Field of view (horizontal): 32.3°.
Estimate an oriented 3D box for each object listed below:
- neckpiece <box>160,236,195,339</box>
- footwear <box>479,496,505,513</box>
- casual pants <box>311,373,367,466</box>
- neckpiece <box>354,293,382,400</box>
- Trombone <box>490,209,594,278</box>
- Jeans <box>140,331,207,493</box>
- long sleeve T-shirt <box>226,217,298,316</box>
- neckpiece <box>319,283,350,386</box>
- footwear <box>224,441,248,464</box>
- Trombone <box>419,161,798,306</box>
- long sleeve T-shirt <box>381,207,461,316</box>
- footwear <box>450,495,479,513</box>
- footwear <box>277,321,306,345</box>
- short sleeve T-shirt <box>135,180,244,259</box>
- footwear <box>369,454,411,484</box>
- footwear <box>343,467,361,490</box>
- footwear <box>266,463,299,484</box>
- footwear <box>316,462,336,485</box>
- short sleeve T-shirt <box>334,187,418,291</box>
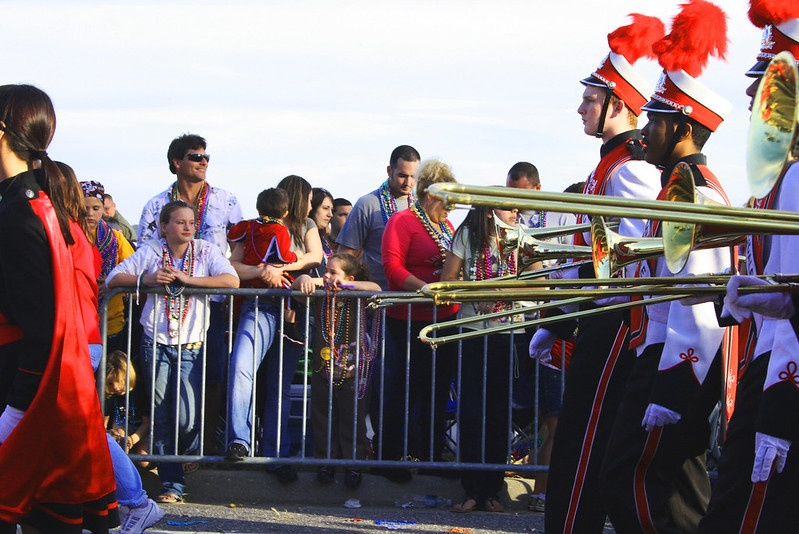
[{"bbox_3d":[-1.429,0.153,8.889,0.206,0.560,0.419,0,13,-9],"label":"neckpiece"},{"bbox_3d":[0.591,1.507,8.723,0.167,0.072,0.123,-7,15,-38],"label":"footwear"},{"bbox_3d":[-0.397,0.955,9.001,0.392,0.761,0.259,4,11,14],"label":"casual pants"},{"bbox_3d":[-0.216,0.540,8.931,0.172,0.616,0.122,9,-6,8],"label":"neckpiece"},{"bbox_3d":[0.810,-0.030,7.671,0.595,0.312,0.495,-2,24,-2],"label":"Trombone"},{"bbox_3d":[-1.460,0.949,8.883,0.389,0.981,0.433,6,-15,-33],"label":"Jeans"},{"bbox_3d":[-0.879,-0.046,9.275,0.539,0.580,0.363,12,12,36],"label":"long sleeve T-shirt"},{"bbox_3d":[-0.389,0.470,8.932,0.205,0.677,0.075,11,22,24],"label":"neckpiece"},{"bbox_3d":[-1.026,1.169,8.669,0.111,0.116,0.135,4,35,2],"label":"footwear"},{"bbox_3d":[0.934,-0.159,6.195,1.520,0.552,0.657,1,-5,-3],"label":"Trombone"},{"bbox_3d":[0.130,-0.011,8.636,0.670,0.688,0.388,4,-13,-29],"label":"long sleeve T-shirt"},{"bbox_3d":[0.409,1.515,8.724,0.201,0.067,0.072,3,1,-11],"label":"footwear"},{"bbox_3d":[-0.705,0.435,8.953,0.174,0.097,0.044,11,37,-10],"label":"footwear"},{"bbox_3d":[-1.399,-0.270,9.120,0.604,0.464,0.194,3,-31,-9],"label":"short sleeve T-shirt"},{"bbox_3d":[-0.033,1.341,9.077,0.335,0.216,0.110,7,4,22],"label":"footwear"},{"bbox_3d":[-0.307,1.382,8.917,0.088,0.091,0.145,4,18,0],"label":"footwear"},{"bbox_3d":[-0.751,1.350,8.945,0.212,0.102,0.138,3,2,-21],"label":"footwear"},{"bbox_3d":[-0.477,1.342,8.892,0.112,0.110,0.270,1,-16,-3],"label":"footwear"},{"bbox_3d":[-0.073,-0.220,9.759,0.816,0.678,0.282,0,9,-24],"label":"short sleeve T-shirt"}]
